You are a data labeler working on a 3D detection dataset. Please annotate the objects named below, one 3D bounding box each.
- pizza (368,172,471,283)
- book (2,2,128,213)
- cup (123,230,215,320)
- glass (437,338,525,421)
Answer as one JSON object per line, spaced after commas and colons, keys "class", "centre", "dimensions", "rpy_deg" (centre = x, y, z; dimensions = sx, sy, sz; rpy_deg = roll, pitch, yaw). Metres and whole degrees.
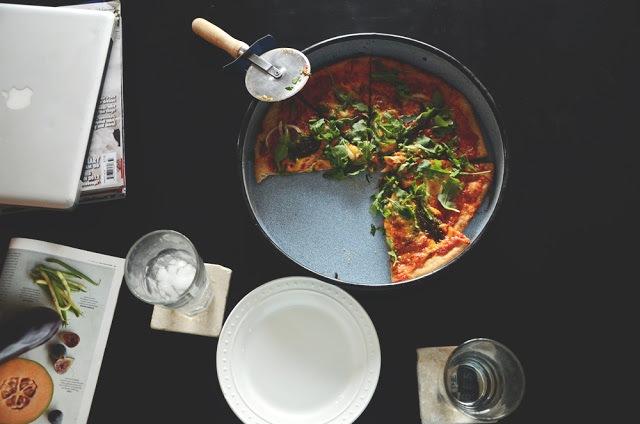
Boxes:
{"class": "pizza", "centre": [0.313, 0.020, 1.918], "dimensions": [0.285, 0.068, 0.403], "rpy_deg": [-30, 48, 6]}
{"class": "book", "centre": [-0.703, -0.340, 1.663], "dimensions": [0.424, 0.066, 0.659], "rpy_deg": [-4, 87, 5]}
{"class": "cup", "centre": [-0.471, 0.195, 1.927], "dimensions": [0.236, 0.283, 0.278], "rpy_deg": [-9, 80, 7]}
{"class": "glass", "centre": [0.501, 0.526, 1.850], "dimensions": [0.239, 0.205, 0.298], "rpy_deg": [7, 84, 10]}
